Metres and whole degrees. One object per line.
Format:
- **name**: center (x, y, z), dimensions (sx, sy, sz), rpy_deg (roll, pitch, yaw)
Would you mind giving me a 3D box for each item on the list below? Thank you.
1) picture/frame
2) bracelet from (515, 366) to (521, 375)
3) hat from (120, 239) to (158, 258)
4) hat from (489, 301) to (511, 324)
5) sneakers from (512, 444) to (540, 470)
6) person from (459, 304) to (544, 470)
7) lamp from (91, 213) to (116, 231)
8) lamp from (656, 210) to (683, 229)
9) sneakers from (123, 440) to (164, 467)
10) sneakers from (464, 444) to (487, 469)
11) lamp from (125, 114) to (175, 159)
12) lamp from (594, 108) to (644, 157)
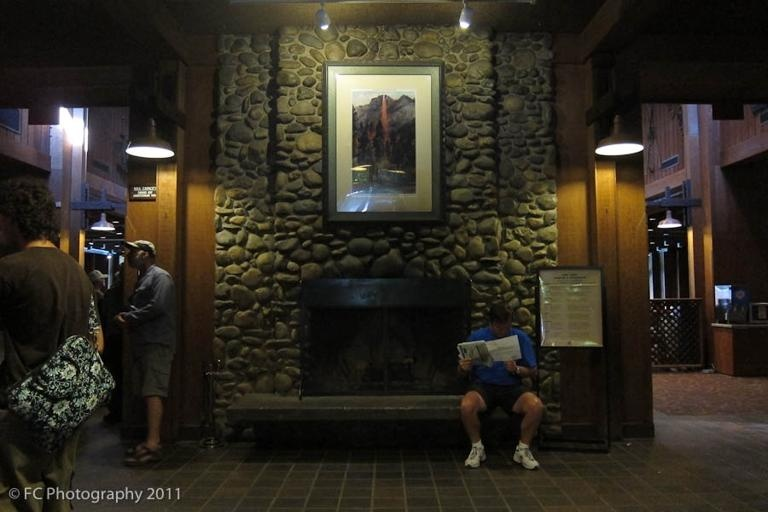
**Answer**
- **picture/frame**: center (0.001, -1.381, 7.873), dimensions (1.368, 1.813, 0.539), rpy_deg (0, 15, 0)
- **bracelet**: center (1.492, 1.287, 7.285), dimensions (0.056, 0.080, 0.074), rpy_deg (1, -1, 3)
- **hat**: center (-2.807, -0.104, 7.568), dimensions (0.297, 0.105, 0.196), rpy_deg (15, -9, -23)
- **hat**: center (1.311, 0.648, 7.434), dimensions (0.190, 0.222, 0.232), rpy_deg (1, -7, -2)
- **sneakers**: center (1.557, 2.207, 7.197), dimensions (0.159, 0.163, 0.360), rpy_deg (1, -9, -12)
- **person**: center (1.304, 1.432, 7.363), dimensions (0.926, 1.694, 1.008), rpy_deg (1, 15, 7)
- **lamp**: center (-6.135, -0.764, 14.260), dimensions (0.426, 0.411, 0.431), rpy_deg (3, 2, -37)
- **lamp**: center (5.702, -0.670, 13.057), dimensions (0.562, 0.399, 0.577), rpy_deg (1, 2, 17)
- **sneakers**: center (-2.674, 2.217, 7.301), dimensions (0.375, 0.149, 0.205), rpy_deg (7, -5, -21)
- **sneakers**: center (1.001, 2.176, 7.185), dimensions (0.228, 0.215, 0.249), rpy_deg (2, 15, 8)
- **lamp**: center (-2.731, -1.384, 7.614), dimensions (0.512, 0.499, 0.464), rpy_deg (-1, 7, -27)
- **lamp**: center (2.790, -1.398, 7.642), dimensions (0.520, 0.549, 0.555), rpy_deg (1, -3, -2)
